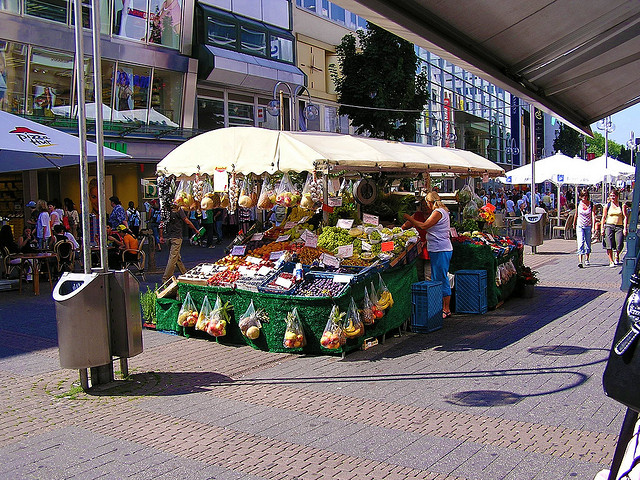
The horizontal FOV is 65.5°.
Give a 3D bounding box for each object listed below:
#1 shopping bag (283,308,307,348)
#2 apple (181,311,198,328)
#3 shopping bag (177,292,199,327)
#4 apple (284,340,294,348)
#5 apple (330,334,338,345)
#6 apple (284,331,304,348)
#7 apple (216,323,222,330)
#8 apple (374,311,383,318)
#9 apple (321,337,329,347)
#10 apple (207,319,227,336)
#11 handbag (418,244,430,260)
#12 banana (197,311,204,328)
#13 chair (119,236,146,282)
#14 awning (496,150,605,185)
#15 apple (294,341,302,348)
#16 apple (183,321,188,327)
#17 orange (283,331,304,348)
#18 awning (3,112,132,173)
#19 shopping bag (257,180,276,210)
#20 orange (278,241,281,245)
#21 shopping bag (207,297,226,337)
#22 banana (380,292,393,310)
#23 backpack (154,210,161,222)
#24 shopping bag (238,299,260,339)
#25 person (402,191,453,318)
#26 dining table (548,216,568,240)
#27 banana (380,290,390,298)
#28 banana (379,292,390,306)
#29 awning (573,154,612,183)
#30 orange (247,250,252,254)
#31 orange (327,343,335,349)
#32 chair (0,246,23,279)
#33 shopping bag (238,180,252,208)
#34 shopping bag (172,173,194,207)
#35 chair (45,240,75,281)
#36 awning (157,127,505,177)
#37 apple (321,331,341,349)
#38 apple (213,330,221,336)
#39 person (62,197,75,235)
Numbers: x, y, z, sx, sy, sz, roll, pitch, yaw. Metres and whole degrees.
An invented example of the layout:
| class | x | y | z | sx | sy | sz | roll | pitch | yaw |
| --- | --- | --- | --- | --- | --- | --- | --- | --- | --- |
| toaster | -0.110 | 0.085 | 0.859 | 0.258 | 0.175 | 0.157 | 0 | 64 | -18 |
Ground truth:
| class | x | y | z | sx | sy | sz | roll | pitch | yaw |
| --- | --- | --- | --- | --- | --- | --- | --- | --- | --- |
| shopping bag | -0.368 | 1.325 | 7.401 | 0.435 | 0.779 | 0.414 | 1 | -6 | -2 |
| apple | -2.278 | 1.399 | 8.708 | 0.357 | 0.324 | 0.161 | 1 | 6 | 26 |
| shopping bag | -2.294 | 1.144 | 8.750 | 0.398 | 0.548 | 0.269 | 14 | 32 | 4 |
| apple | -0.449 | 1.524 | 7.367 | 0.132 | 0.118 | 0.051 | -2 | 5 | -3 |
| apple | 0.203 | 1.426 | 7.161 | 0.110 | 0.118 | 0.135 | 9 | 1 | 32 |
| apple | -0.376 | 1.475 | 7.352 | 0.196 | 0.117 | 0.246 | -8 | 25 | -30 |
| apple | -1.631 | 1.393 | 8.053 | 0.089 | 0.078 | 0.073 | 28 | -17 | -37 |
| apple | 0.908 | 1.141 | 7.750 | 0.121 | 0.108 | 0.103 | 13 | -3 | -12 |
| apple | 0.072 | 1.465 | 7.206 | 0.106 | 0.115 | 0.107 | -1 | 0 | 2 |
| apple | -1.648 | 1.423 | 8.087 | 0.160 | 0.260 | 0.253 | -5 | -32 | 38 |
| handbag | 2.057 | 0.237 | 9.711 | 0.174 | 0.313 | 0.334 | -2 | 6 | -9 |
| banana | -2.007 | 1.336 | 8.361 | 0.093 | 0.187 | 0.061 | 25 | -10 | 12 |
| chair | -5.458 | 0.541 | 14.526 | 0.738 | 0.992 | 0.695 | -2 | -2 | -2 |
| awning | 9.681 | -2.800 | 20.618 | 3.733 | 1.197 | 3.962 | 0 | 5 | 22 |
| apple | -0.329 | 1.531 | 7.359 | 0.090 | 0.075 | 0.074 | -12 | 28 | -9 |
| apple | -2.336 | 1.459 | 8.714 | 0.082 | 0.089 | 0.102 | 2 | -11 | 9 |
| orange | -0.389 | 1.472 | 7.386 | 0.272 | 0.244 | 0.088 | -2 | 5 | -6 |
| awning | -6.431 | -2.299 | 12.144 | 2.160 | 0.771 | 2.223 | 3 | 3 | 41 |
| shopping bag | -0.955 | -0.811 | 8.934 | 0.328 | 0.518 | 0.313 | -2 | 5 | -6 |
| orange | -0.724 | 0.057 | 8.922 | 0.054 | 0.056 | 0.055 | -3 | -4 | 42 |
| shopping bag | -1.688 | 1.251 | 8.171 | 0.284 | 0.585 | 0.290 | -1 | 5 | 2 |
| banana | 1.055 | 0.968 | 7.845 | 0.059 | 0.157 | 0.235 | 6 | 49 | 36 |
| backpack | -5.221 | -0.764 | 16.051 | 0.155 | 0.650 | 0.646 | 2 | 5 | -20 |
| shopping bag | -1.107 | 1.248 | 7.810 | 0.311 | 0.618 | 0.183 | 2 | 6 | 33 |
| person | 2.115 | 0.307 | 9.323 | 0.785 | 2.392 | 0.595 | -2 | 5 | -3 |
| dining table | 11.547 | -0.576 | 24.178 | 0.776 | 0.997 | 1.009 | -7 | 9 | -39 |
| banana | 1.015 | 0.855 | 7.845 | 0.150 | 0.096 | 0.049 | -4 | 6 | -22 |
| banana | 0.998 | 0.920 | 7.810 | 0.043 | 0.146 | 0.168 | 25 | 21 | -4 |
| awning | 12.327 | -3.062 | 21.977 | 1.536 | 1.205 | 1.609 | 1 | 4 | 8 |
| orange | -1.293 | 0.215 | 9.176 | 0.056 | 0.032 | 0.058 | -3 | 11 | 15 |
| orange | 0.157 | 1.522 | 7.218 | 0.071 | 0.073 | 0.073 | 29 | -7 | 45 |
| chair | -8.140 | 0.548 | 13.214 | 0.400 | 0.722 | 1.217 | -6 | 7 | -39 |
| shopping bag | -1.318 | -0.815 | 8.770 | 0.221 | 0.474 | 0.380 | -2 | 5 | 1 |
| shopping bag | -2.618 | -0.892 | 9.585 | 0.297 | 0.517 | 0.473 | -7 | 7 | -42 |
| chair | -7.215 | 0.482 | 13.963 | 0.655 | 1.014 | 1.100 | -4 | 6 | -28 |
| awning | 0.767 | -1.539 | 9.430 | 4.659 | 0.698 | 2.423 | -8 | 9 | -43 |
| apple | 0.155 | 1.438 | 7.216 | 0.284 | 0.233 | 0.105 | 0 | 6 | 17 |
| apple | -1.656 | 1.510 | 8.081 | 0.099 | 0.090 | 0.085 | -1 | 3 | -19 |
| person | -8.543 | -0.794 | 16.975 | 0.310 | 1.204 | 2.116 | -4 | 6 | -26 |
